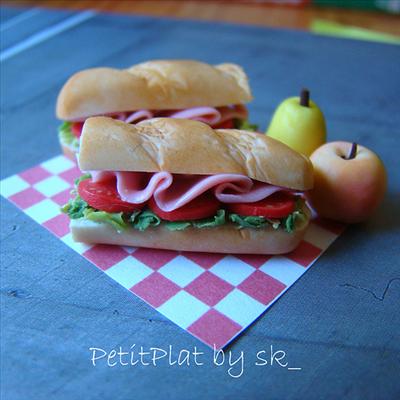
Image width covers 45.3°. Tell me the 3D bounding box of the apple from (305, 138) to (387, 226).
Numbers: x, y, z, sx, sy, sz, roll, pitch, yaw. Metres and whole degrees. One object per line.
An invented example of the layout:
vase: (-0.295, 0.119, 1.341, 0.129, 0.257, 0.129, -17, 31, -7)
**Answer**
apple: (0.729, -0.104, 2.442, 0.411, 0.332, 0.396, -33, 38, -29)
